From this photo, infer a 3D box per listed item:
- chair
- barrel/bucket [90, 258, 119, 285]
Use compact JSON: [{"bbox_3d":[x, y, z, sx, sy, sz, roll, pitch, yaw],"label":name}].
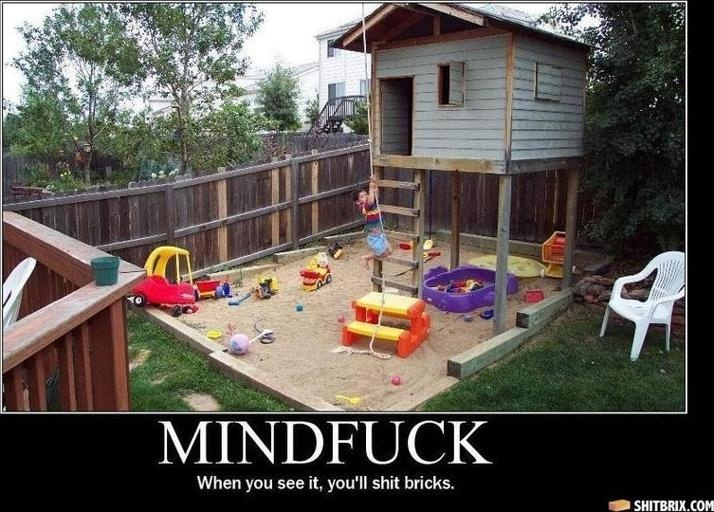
[{"bbox_3d":[4.236,0.685,8.108,0.923,1.397,0.919,-2,17,-12],"label":"chair"},{"bbox_3d":[-2.061,0.126,4.578,0.228,0.195,0.207,-1,-1,-44],"label":"barrel/bucket"}]
